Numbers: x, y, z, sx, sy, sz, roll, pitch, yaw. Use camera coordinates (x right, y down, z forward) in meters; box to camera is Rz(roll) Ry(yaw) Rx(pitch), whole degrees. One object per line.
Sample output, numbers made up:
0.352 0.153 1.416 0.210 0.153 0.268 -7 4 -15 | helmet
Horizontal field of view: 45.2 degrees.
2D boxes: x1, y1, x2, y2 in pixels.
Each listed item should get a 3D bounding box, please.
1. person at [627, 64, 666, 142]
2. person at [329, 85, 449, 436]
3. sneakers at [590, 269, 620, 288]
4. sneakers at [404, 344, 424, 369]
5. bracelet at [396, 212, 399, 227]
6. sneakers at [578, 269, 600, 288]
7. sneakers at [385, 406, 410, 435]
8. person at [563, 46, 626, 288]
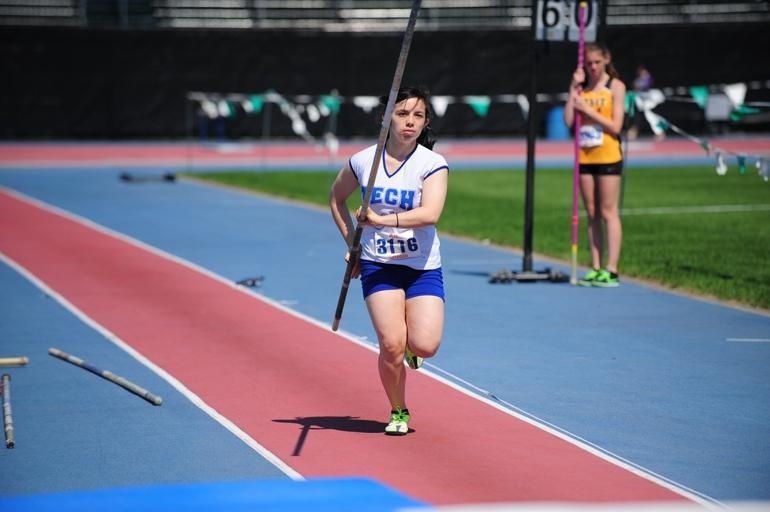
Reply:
6.821 -4.215 24.818 0.549 1.385 1.722 -9 -21 16 | person
0.086 0.029 7.511 0.977 2.752 0.695 10 16 37 | person
2.623 0.273 10.950 0.356 0.157 0.138 4 -4 -38 | sneakers
0.206 0.839 7.537 0.204 0.174 0.159 4 10 14 | sneakers
0.097 -0.275 7.236 0.037 0.108 0.089 1 13 1 | bracelet
2.476 0.263 11.078 0.330 0.141 0.130 -6 5 -17 | sneakers
0.112 1.356 7.520 0.177 0.206 0.481 0 -7 4 | sneakers
2.467 -1.047 10.817 0.705 2.822 0.485 5 13 17 | person
